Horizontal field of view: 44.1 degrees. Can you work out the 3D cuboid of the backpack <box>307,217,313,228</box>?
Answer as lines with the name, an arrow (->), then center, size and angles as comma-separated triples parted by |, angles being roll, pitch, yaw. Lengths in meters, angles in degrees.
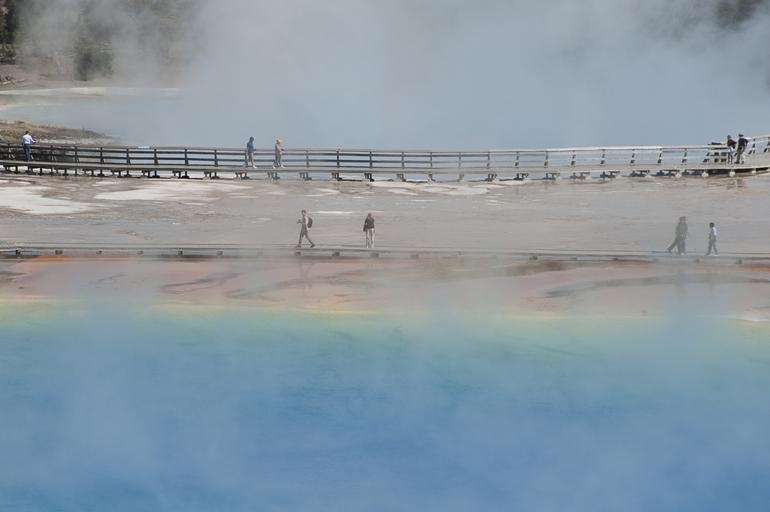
backpack -> -3.135, -1.437, 39.638 | 0.118, 0.390, 0.342 | 6, 9, 11
